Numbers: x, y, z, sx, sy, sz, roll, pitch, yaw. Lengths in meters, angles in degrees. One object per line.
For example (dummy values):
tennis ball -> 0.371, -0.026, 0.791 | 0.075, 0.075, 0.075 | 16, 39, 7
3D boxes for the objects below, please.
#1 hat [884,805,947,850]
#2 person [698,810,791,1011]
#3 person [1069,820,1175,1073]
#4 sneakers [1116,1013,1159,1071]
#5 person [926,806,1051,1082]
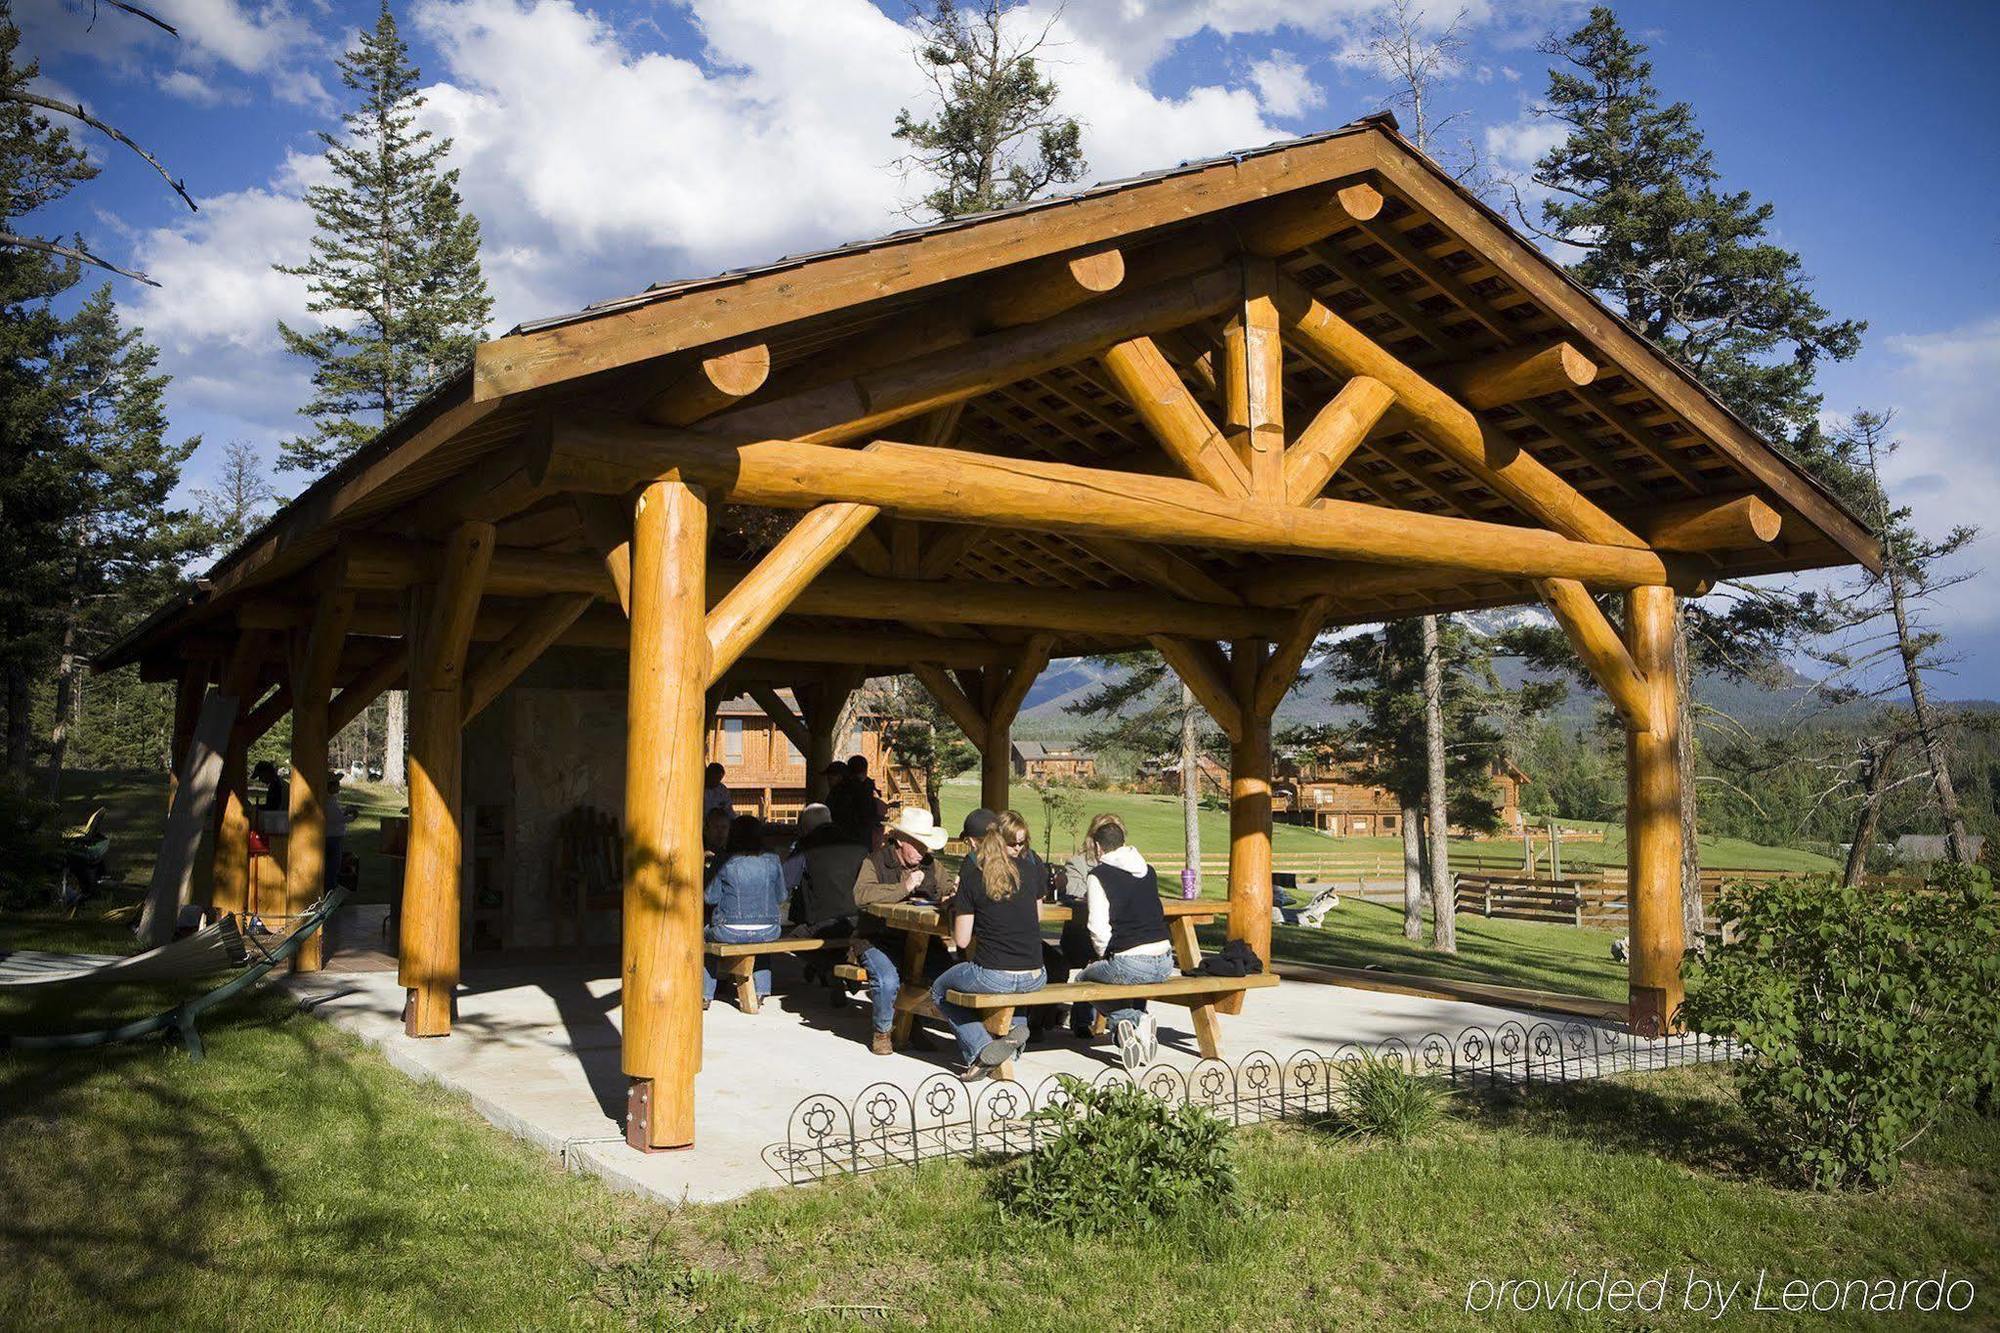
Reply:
hat -> -0.840, 1.466, 12.840 | 0.566, 0.243, 0.520 | 16, -16, 40
person -> -2.297, 1.909, 12.349 | 0.694, 1.519, 0.552 | 2, 0, -12
person -> 1.021, 2.172, 10.843 | 0.772, 1.823, 0.665 | 2, 0, -1
sneakers -> 1.101, 3.002, 10.804 | 0.284, 0.440, 0.160 | -8, -11, -13
person -> -0.041, 2.124, 10.444 | 0.789, 1.907, 0.508 | 2, 0, -4
